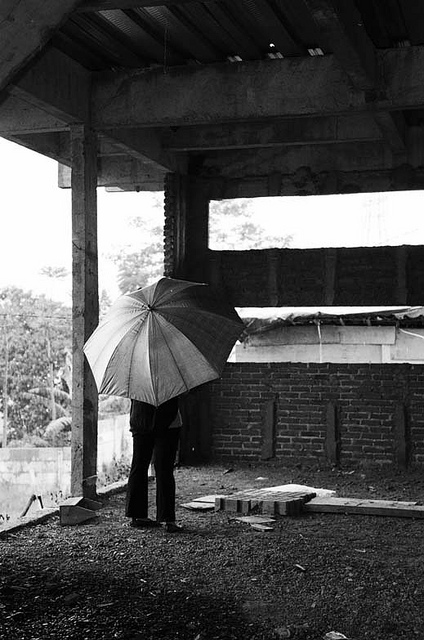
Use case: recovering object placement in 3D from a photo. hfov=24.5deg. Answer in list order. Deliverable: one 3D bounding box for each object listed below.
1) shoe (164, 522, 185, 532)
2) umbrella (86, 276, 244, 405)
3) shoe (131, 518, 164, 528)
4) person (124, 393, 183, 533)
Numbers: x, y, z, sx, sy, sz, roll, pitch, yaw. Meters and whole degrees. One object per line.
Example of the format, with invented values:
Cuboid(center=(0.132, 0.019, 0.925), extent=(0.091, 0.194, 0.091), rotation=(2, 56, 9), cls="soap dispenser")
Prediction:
Cuboid(center=(-0.313, 1.706, 8.110), extent=(0.165, 0.085, 0.301), rotation=(-1, -1, -2), cls="shoe")
Cuboid(center=(-0.431, 0.219, 7.762), extent=(1.438, 0.648, 1.623), rotation=(-8, 6, -20), cls="umbrella")
Cuboid(center=(-0.532, 1.697, 8.205), extent=(0.240, 0.124, 0.094), rotation=(4, -3, -18), cls="shoe")
Cuboid(center=(-0.490, 1.195, 8.058), extent=(0.407, 1.105, 0.621), rotation=(0, -1, -32), cls="person")
